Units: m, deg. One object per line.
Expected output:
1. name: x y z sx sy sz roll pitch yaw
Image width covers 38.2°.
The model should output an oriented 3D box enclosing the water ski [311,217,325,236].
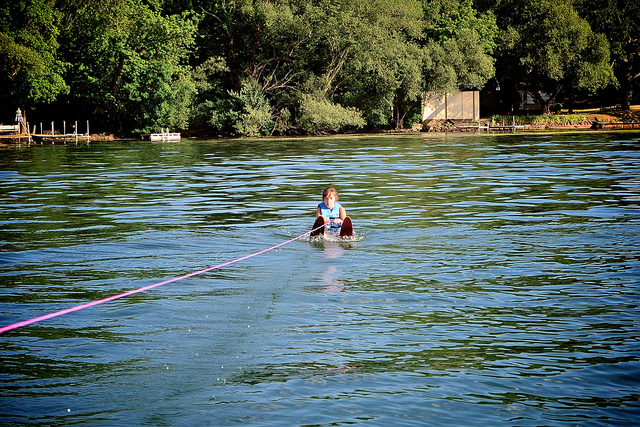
1. water ski: -0.055 0.303 23.321 0.386 0.462 0.204 5 9 40

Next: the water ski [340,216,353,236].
1. water ski: 0.663 0.293 23.080 0.331 0.450 0.156 -1 7 -8
